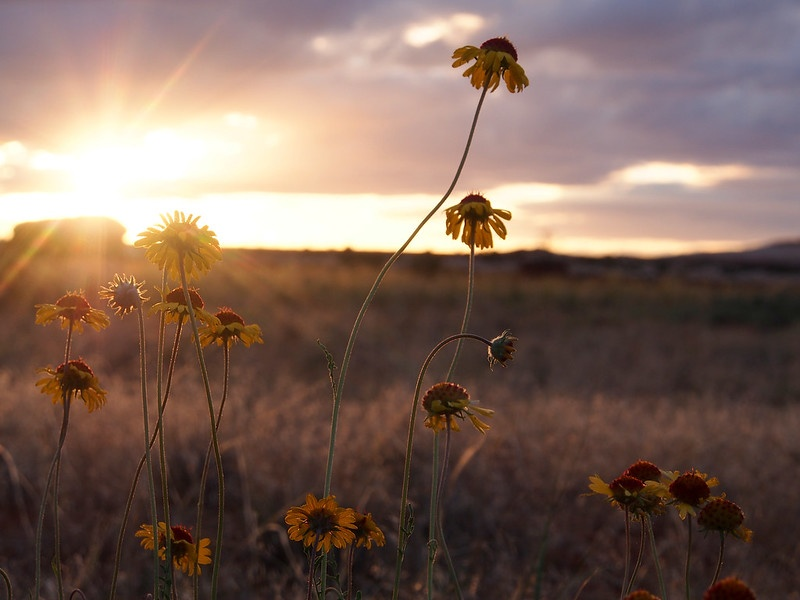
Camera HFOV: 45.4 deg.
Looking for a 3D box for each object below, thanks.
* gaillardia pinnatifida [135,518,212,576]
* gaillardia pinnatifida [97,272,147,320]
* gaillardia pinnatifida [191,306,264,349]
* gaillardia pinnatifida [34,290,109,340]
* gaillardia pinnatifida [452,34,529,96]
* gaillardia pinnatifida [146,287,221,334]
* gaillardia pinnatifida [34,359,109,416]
[{"bbox_3d":[-1.953,2.190,8.274,0.582,0.631,0.832,1,5,-16],"label":"gaillardia pinnatifida"},{"bbox_3d":[-2.332,-0.036,8.096,0.399,0.388,0.588,2,5,-7],"label":"gaillardia pinnatifida"},{"bbox_3d":[-1.505,0.222,8.343,0.413,0.348,0.485,-1,6,15],"label":"gaillardia pinnatifida"},{"bbox_3d":[-2.817,0.065,8.275,0.605,0.329,0.615,3,9,-36],"label":"gaillardia pinnatifida"},{"bbox_3d":[0.814,-2.100,8.570,0.631,0.516,0.712,8,-9,9],"label":"gaillardia pinnatifida"},{"bbox_3d":[-1.857,0.042,8.296,0.631,0.383,0.694,7,-6,11],"label":"gaillardia pinnatifida"},{"bbox_3d":[-2.833,0.729,8.254,0.474,0.387,0.533,20,8,-10],"label":"gaillardia pinnatifida"}]
